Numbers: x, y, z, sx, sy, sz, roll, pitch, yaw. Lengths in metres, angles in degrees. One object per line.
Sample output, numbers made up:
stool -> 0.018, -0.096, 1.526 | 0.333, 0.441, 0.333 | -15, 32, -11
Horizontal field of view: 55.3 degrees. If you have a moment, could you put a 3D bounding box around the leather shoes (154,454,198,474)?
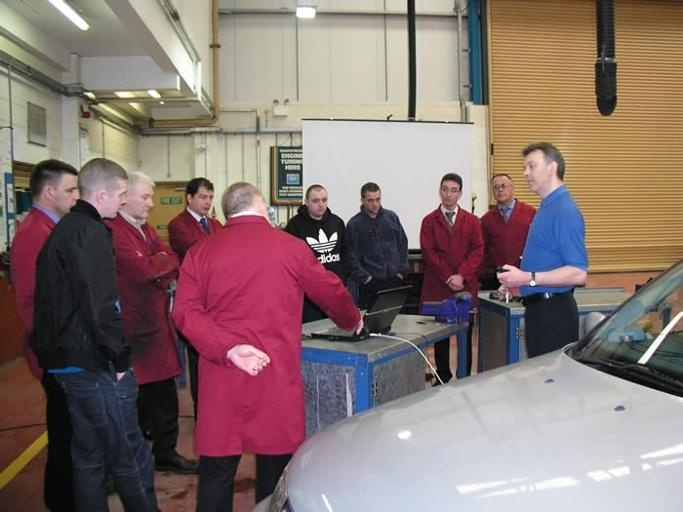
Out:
leather shoes -> -1.117, 1.398, 4.380 | 0.277, 0.144, 0.133 | -1, -2, 0

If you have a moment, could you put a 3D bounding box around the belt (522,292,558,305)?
belt -> 1.197, 0.251, 3.964 | 0.096, 0.036, 0.106 | -13, 2, 2

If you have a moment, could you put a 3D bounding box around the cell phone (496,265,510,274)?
cell phone -> 1.017, 0.085, 4.091 | 0.077, 0.031, 0.056 | -4, 12, -39

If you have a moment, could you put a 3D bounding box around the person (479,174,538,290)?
person -> 1.617, -0.023, 6.444 | 0.671, 1.635, 0.474 | 3, 36, 19

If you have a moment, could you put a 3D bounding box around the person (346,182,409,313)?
person -> 0.369, 0.091, 6.130 | 0.563, 1.755, 0.415 | -7, 39, 1

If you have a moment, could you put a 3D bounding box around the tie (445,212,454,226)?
tie -> 0.949, -0.320, 5.706 | 0.067, 0.118, 0.029 | -3, 1, 8

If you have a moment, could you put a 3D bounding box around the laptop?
laptop -> 0.150, 0.359, 3.908 | 0.354, 0.276, 0.404 | -1, -3, 24

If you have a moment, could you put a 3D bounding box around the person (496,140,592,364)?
person -> 1.267, 0.272, 4.207 | 0.448, 2.014, 0.636 | -5, 15, 2

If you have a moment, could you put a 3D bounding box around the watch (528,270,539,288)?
watch -> 1.131, 0.141, 3.830 | 0.040, 0.072, 0.072 | 2, -17, 9

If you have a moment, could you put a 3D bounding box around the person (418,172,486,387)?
person -> 0.989, 0.240, 5.772 | 0.497, 1.867, 0.501 | -2, 12, 8
